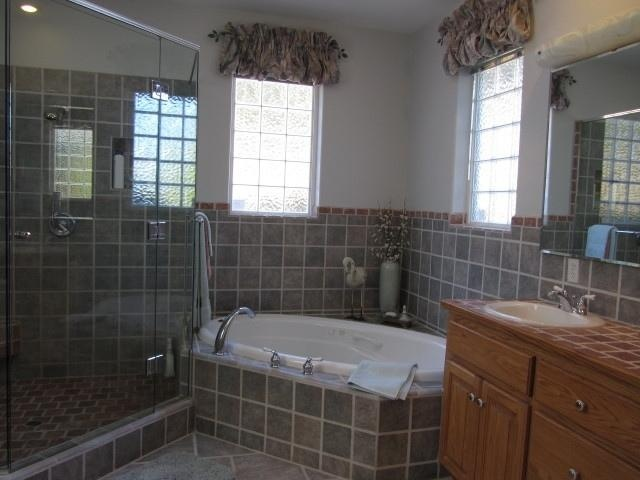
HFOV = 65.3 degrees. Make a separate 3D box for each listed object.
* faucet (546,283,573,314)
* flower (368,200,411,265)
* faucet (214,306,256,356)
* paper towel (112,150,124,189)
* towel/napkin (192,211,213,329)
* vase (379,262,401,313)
[{"bbox_3d":[1.379,0.334,2.879,0.251,0.167,0.107,4,-1,-44],"label":"faucet"},{"bbox_3d":[0.638,-0.065,4.706,0.500,0.730,0.223,2,7,2],"label":"flower"},{"bbox_3d":[-0.578,0.607,3.381,0.128,0.316,0.563,3,7,15],"label":"faucet"},{"bbox_3d":[-1.181,-0.393,2.956,0.082,0.215,0.080,1,26,-22],"label":"paper towel"},{"bbox_3d":[-0.932,0.244,3.902,0.133,0.909,0.488,-1,6,-6],"label":"towel/napkin"},{"bbox_3d":[0.637,0.430,4.592,0.187,0.471,0.188,1,6,7],"label":"vase"}]
